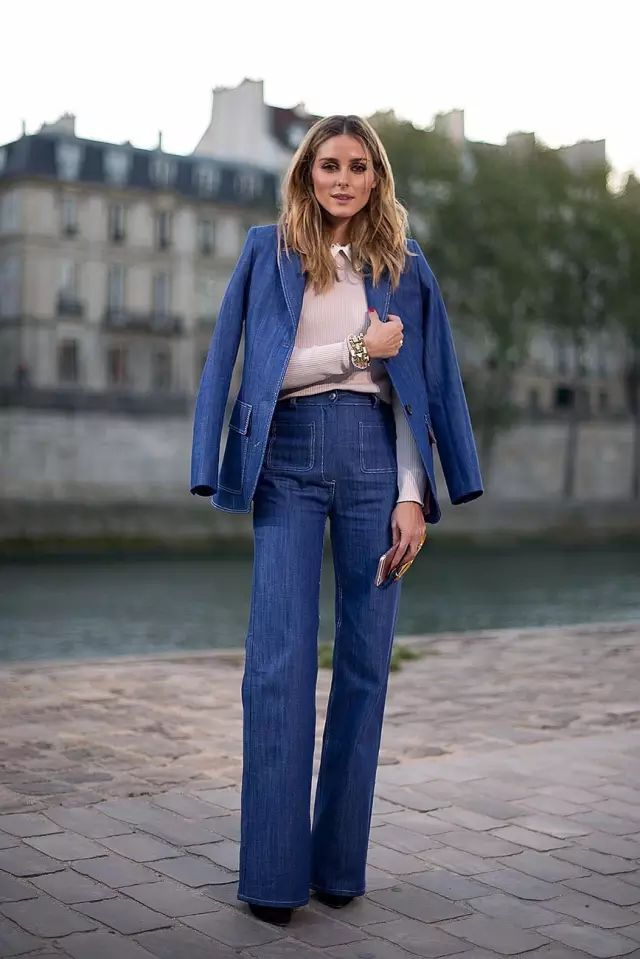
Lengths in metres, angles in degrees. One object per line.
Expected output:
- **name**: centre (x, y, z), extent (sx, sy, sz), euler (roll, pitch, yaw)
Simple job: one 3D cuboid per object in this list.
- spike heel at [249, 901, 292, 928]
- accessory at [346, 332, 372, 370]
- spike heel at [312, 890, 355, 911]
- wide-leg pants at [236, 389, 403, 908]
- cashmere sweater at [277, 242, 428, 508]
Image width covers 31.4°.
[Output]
- **spike heel**: centre (-0.105, 0.986, 2.586), extent (0.069, 0.021, 0.049), euler (1, -2, 13)
- **accessory**: centre (0.089, -0.293, 2.586), extent (0.059, 0.069, 0.025), euler (-2, 21, 15)
- **spike heel**: centre (0.024, 1.010, 2.753), extent (0.048, 0.032, 0.053), euler (7, -10, -40)
- **wide-leg pants**: centre (0.017, 0.397, 2.698), extent (0.373, 1.205, 0.233), euler (3, 2, -15)
- **cashmere sweater**: centre (0.078, -0.231, 2.670), extent (0.392, 0.573, 0.160), euler (4, 0, -16)
